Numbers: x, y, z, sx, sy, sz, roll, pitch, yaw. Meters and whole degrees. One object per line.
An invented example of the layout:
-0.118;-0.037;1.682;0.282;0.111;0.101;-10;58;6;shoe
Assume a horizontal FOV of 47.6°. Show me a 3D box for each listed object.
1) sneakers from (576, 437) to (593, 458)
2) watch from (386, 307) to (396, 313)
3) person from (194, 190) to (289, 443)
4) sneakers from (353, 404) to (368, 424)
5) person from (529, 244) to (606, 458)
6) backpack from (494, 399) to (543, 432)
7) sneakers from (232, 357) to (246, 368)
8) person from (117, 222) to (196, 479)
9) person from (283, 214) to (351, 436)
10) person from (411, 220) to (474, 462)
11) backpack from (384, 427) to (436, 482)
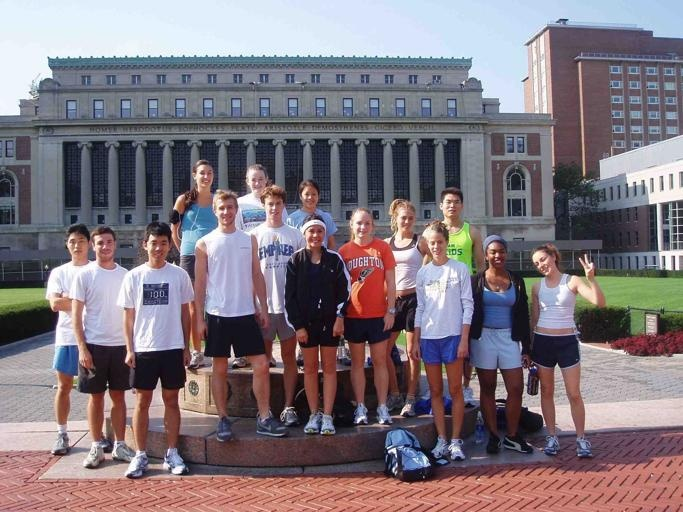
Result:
4.360;3.454;13.877;0.196;0.189;0.425;-2;-8;6;sneakers
0.921;0.998;14.134;0.116;0.119;0.110;-1;-3;-10;watch
-1.942;1.029;13.812;1.303;4.270;1.022;-2;6;-11;person
0.350;2.879;14.118;0.253;0.366;0.277;0;6;5;sneakers
4.060;1.711;14.136;1.204;3.743;0.930;1;6;17;person
3.533;3.121;15.052;0.588;0.344;0.958;-2;-11;28;backpack
-2.000;2.106;15.112;0.155;0.177;0.426;0;-12;4;sneakers
-3.228;1.623;13.578;1.227;4.356;0.917;-2;6;-12;person
-0.425;1.249;13.842;1.156;3.807;0.727;-1;6;0;person
1.819;1.524;14.013;1.004;4.221;0.896;1;6;19;person
1.092;3.447;13.478;0.636;0.327;0.817;-6;23;-23;backpack
